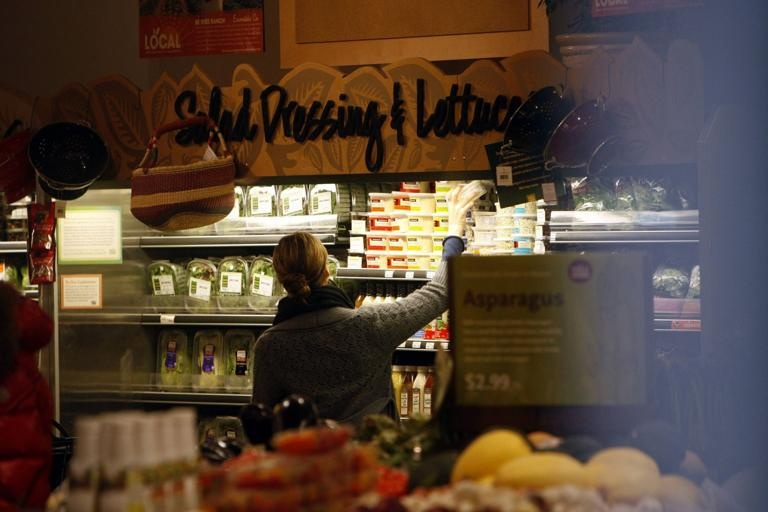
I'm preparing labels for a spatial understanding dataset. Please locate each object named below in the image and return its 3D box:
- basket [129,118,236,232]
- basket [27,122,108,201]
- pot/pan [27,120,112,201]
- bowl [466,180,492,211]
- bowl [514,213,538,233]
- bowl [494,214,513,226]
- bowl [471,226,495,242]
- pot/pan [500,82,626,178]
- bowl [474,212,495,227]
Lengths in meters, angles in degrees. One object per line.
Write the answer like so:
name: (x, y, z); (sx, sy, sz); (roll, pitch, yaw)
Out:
basket: (-1.165, -0.494, 4.027); (0.610, 0.632, 0.348); (-3, -7, -12)
basket: (-1.862, -0.526, 4.070); (0.401, 0.437, 0.155); (8, -2, -7)
pot/pan: (-1.857, -0.580, 4.149); (0.401, 0.438, 0.153); (5, -4, -6)
bowl: (0.645, -0.393, 4.565); (0.195, 0.227, 0.198); (-1, 2, 0)
bowl: (0.925, -0.207, 4.499); (0.121, 0.112, 0.125); (1, -4, 0)
bowl: (0.794, -0.236, 4.561); (0.088, 0.066, 0.088); (1, -6, 0)
bowl: (0.664, -0.137, 4.561); (0.104, 0.053, 0.103); (0, -4, 0)
pot/pan: (1.000, -0.698, 3.840); (0.711, 0.492, 0.269); (0, 3, 21)
bowl: (0.675, -0.239, 4.569); (0.098, 0.061, 0.100); (0, -4, 0)
